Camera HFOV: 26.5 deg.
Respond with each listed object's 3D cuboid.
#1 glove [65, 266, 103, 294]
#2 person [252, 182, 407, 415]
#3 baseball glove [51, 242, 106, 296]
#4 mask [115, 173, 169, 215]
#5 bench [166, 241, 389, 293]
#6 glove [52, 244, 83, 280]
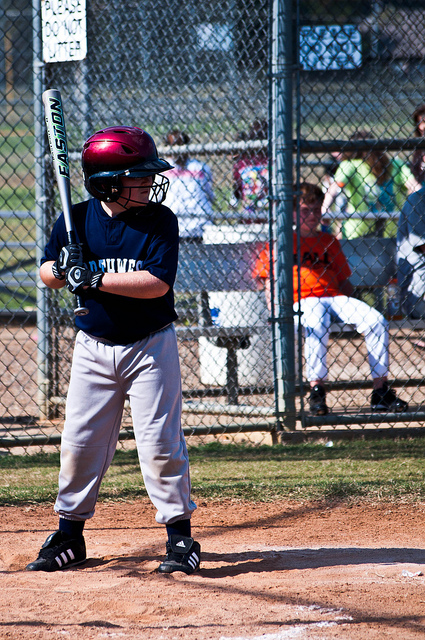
[{"bbox_3d":[-0.408,-0.125,2.841,0.119,0.088,0.099,-1,4,-7],"label":"glove"},{"bbox_3d":[0.606,-0.156,5.120,0.794,1.324,1.290,-1,5,-10],"label":"person"},{"bbox_3d":[-0.434,-0.153,2.849,0.087,0.165,0.182,-17,20,-28],"label":"baseball glove"},{"bbox_3d":[-0.214,-0.415,2.990,0.133,0.137,0.272,2,4,22],"label":"mask"},{"bbox_3d":[0.357,-0.322,5.971,1.653,0.293,0.238,0,-4,25],"label":"bench"},{"bbox_3d":[-0.457,-0.172,2.901,0.057,0.113,0.087,43,-8,-31],"label":"glove"}]
